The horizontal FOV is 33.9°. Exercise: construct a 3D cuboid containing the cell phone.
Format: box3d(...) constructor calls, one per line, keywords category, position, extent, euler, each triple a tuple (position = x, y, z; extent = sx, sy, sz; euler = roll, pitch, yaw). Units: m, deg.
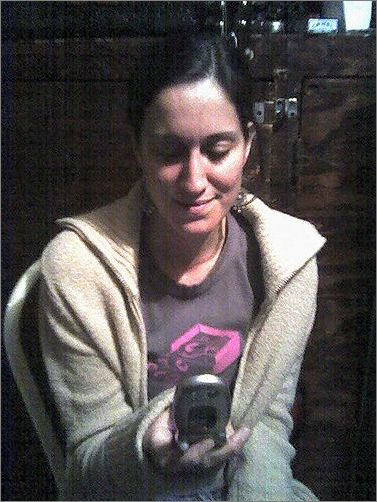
box3d(category="cell phone", position=(0.047, 0.571, 2.146), extent=(0.186, 0.296, 0.074), euler=(-1, 9, 2))
